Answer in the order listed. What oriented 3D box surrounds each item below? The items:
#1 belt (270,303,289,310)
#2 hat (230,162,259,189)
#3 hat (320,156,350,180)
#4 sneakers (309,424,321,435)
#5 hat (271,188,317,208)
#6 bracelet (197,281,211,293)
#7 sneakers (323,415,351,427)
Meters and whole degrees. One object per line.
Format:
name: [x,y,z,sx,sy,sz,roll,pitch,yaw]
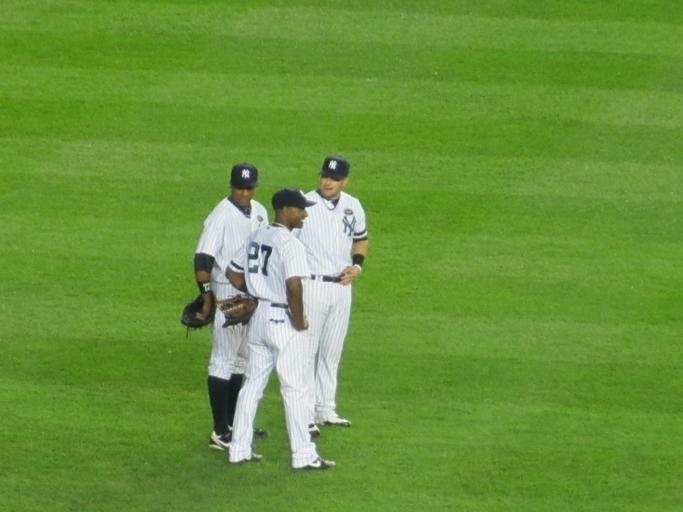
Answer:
belt: [-0.688,0.554,18.009,0.191,0.039,0.029,6,4,-4]
hat: [-1.083,-0.902,18.201,0.241,0.182,0.313,3,37,-17]
hat: [-0.064,-1.028,18.737,0.309,0.285,0.173,6,4,-4]
sneakers: [-0.310,2.018,18.685,0.094,0.127,0.126,3,2,41]
hat: [-0.553,-0.643,18.053,0.338,0.171,0.219,-6,13,-2]
bracelet: [-1.540,0.349,18.200,0.125,0.097,0.123,0,12,-7]
sneakers: [-0.039,1.960,18.981,0.370,0.146,0.125,-2,-1,5]
